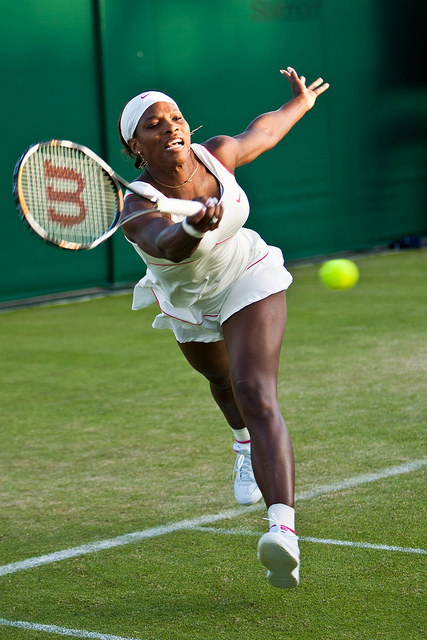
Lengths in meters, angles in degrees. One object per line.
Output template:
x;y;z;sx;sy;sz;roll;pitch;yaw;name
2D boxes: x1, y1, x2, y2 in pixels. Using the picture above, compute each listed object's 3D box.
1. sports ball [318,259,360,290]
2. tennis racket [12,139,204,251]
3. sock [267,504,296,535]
1.506;-0.533;8.115;0.464;0.234;0.506;-1;13;0;sports ball
-0.369;-0.361;1.949;0.384;0.313;0.356;-6;9;-13;tennis racket
0.178;0.520;1.784;0.064;0.060;0.078;-4;9;2;sock
